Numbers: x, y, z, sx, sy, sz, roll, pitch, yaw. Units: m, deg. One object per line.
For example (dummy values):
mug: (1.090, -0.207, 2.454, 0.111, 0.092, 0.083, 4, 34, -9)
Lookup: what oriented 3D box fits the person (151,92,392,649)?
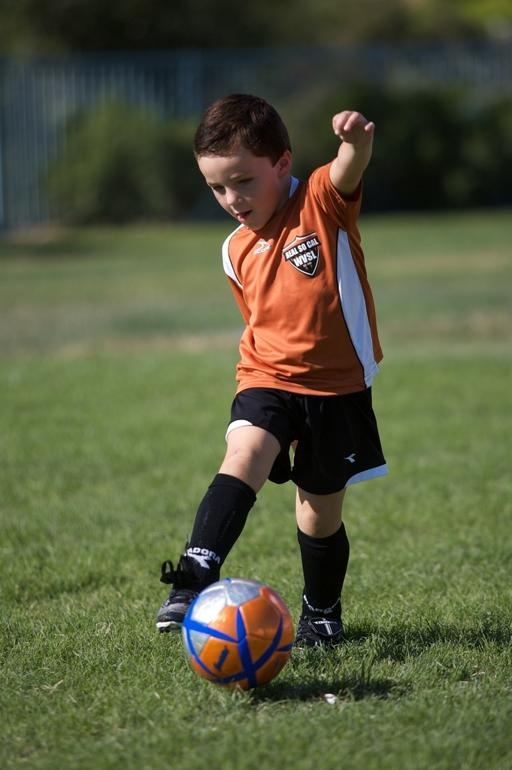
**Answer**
person: (0.092, -0.155, 2.190, 0.544, 1.332, 0.657, 0, 12, 4)
